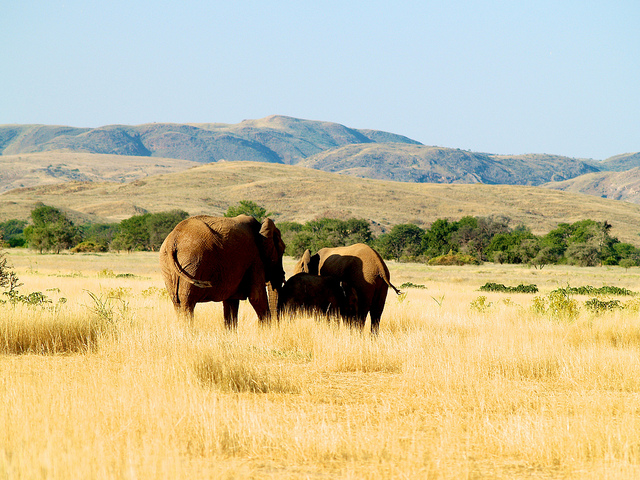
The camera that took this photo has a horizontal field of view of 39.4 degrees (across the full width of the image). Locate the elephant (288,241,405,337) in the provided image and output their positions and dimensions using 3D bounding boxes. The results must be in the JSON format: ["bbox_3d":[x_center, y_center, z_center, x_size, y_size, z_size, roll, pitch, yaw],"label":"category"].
[{"bbox_3d":[0.392,1.142,21.378,3.326,2.144,1.575,0,3,40],"label":"elephant"}]

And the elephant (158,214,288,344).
[{"bbox_3d":[-2.027,0.700,18.412,2.110,2.444,3.155,1,1,5],"label":"elephant"}]
